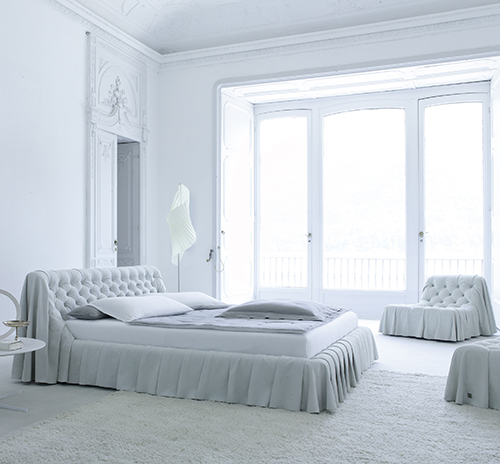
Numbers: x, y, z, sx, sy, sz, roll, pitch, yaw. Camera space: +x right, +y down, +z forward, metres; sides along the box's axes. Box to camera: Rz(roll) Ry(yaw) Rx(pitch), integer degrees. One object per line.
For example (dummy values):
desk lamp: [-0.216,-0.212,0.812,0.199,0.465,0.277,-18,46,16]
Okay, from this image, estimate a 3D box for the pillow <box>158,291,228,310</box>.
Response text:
pillow: [-0.577,0.688,4.497,0.317,0.097,0.327,15,-7,-19]

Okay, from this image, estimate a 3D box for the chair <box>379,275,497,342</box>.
chair: [2.343,0.943,5.397,0.916,0.698,0.896,7,-9,-43]
